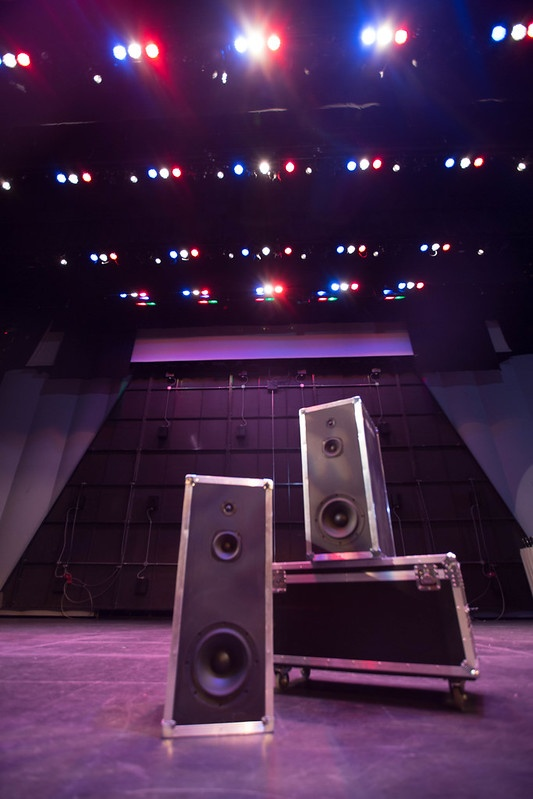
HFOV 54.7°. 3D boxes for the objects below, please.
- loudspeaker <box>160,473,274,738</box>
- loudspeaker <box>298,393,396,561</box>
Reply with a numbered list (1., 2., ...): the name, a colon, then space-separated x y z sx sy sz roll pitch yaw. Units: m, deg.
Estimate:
1. loudspeaker: -0.154 0.773 1.977 0.396 0.815 0.332 3 -5 8
2. loudspeaker: 0.374 0.404 2.686 0.435 0.821 0.211 -9 -15 29
